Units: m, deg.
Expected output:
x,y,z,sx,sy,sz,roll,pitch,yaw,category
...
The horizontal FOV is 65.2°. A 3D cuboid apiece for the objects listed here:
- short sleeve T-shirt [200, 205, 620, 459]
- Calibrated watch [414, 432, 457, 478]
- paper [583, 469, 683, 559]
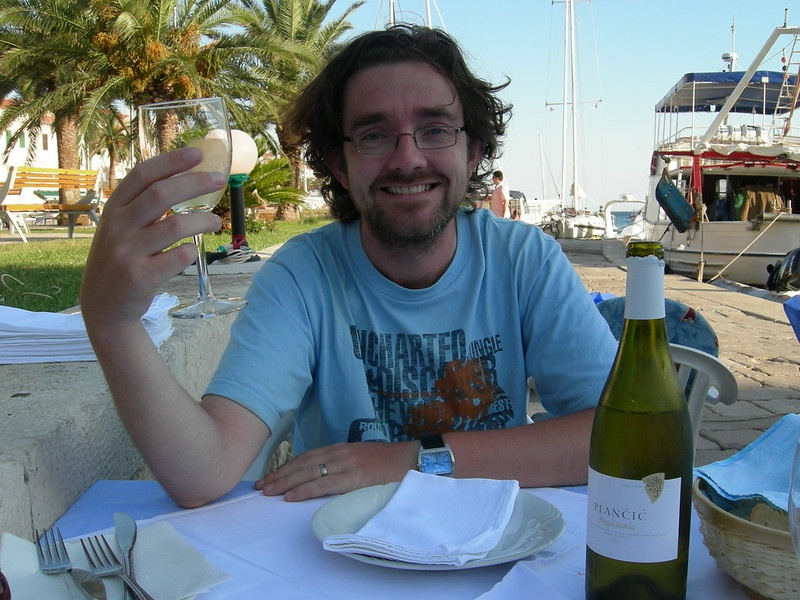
x,y,z,sx,sy,sz,roll,pitch,yaw,category
0.054,0.122,2.044,0.962,1.150,0.647,-1,-5,-1,short sleeve T-shirt
0.089,0.372,1.513,0.075,0.091,0.082,2,7,-8,Calibrated watch
0.355,0.319,0.976,0.107,0.144,0.127,1,-2,1,paper
